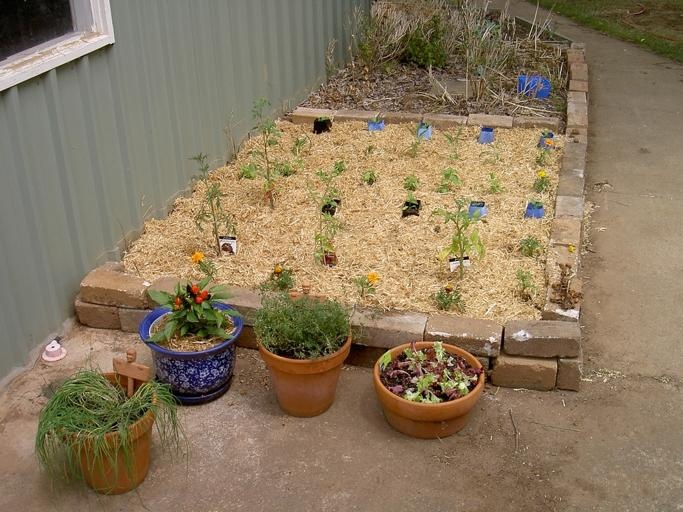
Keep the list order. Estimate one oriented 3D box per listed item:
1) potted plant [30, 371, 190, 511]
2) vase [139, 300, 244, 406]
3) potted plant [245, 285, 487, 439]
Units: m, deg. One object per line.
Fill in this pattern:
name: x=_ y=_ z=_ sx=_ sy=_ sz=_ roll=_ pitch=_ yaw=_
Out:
potted plant: x=-1.338 y=0.999 z=3.060 sx=0.688 sy=0.553 sz=0.726 roll=14 pitch=16 yaw=38
vase: x=-1.000 y=0.763 z=3.694 sx=0.624 sy=0.421 sz=0.640 roll=16 pitch=34 yaw=15
potted plant: x=0.174 y=0.539 z=3.431 sx=1.278 sy=0.577 sz=0.805 roll=8 pitch=26 yaw=7
